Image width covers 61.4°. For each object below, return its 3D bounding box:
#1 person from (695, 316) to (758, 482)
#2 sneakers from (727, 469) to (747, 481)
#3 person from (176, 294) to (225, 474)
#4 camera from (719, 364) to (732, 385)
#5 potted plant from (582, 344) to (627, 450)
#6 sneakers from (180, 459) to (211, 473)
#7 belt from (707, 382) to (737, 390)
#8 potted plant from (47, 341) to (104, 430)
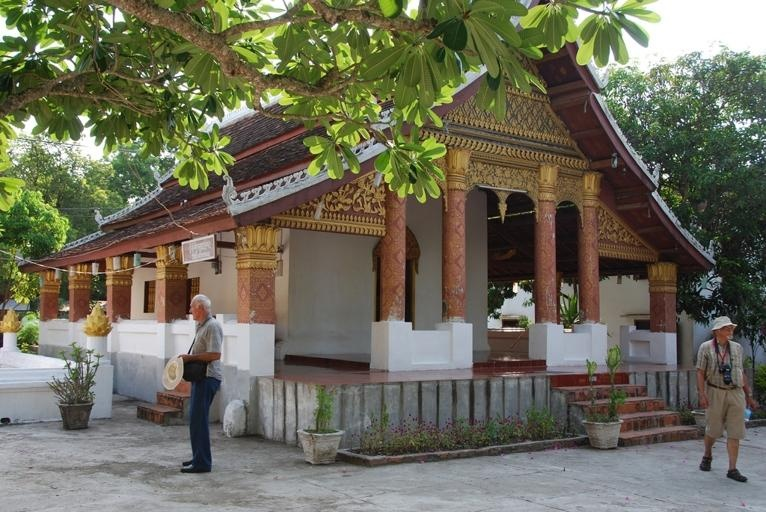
[{"bbox_3d":[4.800,1.984,9.129,0.704,2.467,1.009,2,0,29],"label":"person"},{"bbox_3d":[4.735,2.966,8.742,0.105,0.122,0.281,2,-9,-23],"label":"sneakers"},{"bbox_3d":[-2.399,1.662,8.528,0.483,2.065,0.522,2,0,-5],"label":"person"},{"bbox_3d":[4.748,1.657,8.992,0.154,0.255,0.092,-4,-6,29],"label":"camera"},{"bbox_3d":[3.846,2.332,11.279,0.644,1.732,2.097,2,0,20],"label":"potted plant"},{"bbox_3d":[-2.421,2.730,8.352,0.242,0.085,0.188,0,-3,0],"label":"sneakers"},{"bbox_3d":[4.733,1.836,9.055,0.362,0.096,0.060,2,0,28],"label":"belt"},{"bbox_3d":[-5.287,2.306,11.147,0.628,1.356,0.848,2,-2,-9],"label":"potted plant"}]
